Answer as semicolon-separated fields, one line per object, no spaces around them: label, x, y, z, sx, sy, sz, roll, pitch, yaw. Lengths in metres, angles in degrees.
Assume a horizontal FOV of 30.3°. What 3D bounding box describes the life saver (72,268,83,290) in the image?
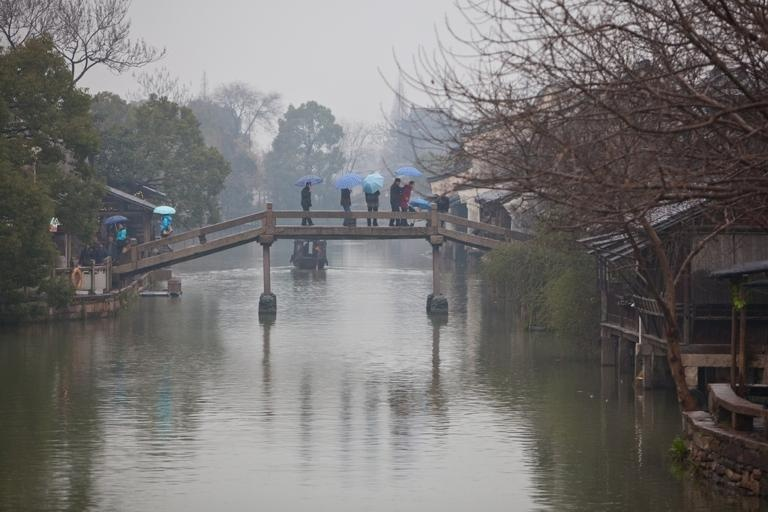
life saver;-11.627;0.824;53.634;0.122;0.909;0.668;-3;9;19

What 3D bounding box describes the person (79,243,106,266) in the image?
person;-12.067;-0.041;58.664;0.752;1.360;0.437;9;-18;-10

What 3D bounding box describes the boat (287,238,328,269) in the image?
boat;-4.204;-0.205;79.189;1.838;1.778;3.037;0;12;-2

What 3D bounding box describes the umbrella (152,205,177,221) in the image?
umbrella;-9.820;-2.006;63.512;1.096;0.430;1.107;4;-4;10
